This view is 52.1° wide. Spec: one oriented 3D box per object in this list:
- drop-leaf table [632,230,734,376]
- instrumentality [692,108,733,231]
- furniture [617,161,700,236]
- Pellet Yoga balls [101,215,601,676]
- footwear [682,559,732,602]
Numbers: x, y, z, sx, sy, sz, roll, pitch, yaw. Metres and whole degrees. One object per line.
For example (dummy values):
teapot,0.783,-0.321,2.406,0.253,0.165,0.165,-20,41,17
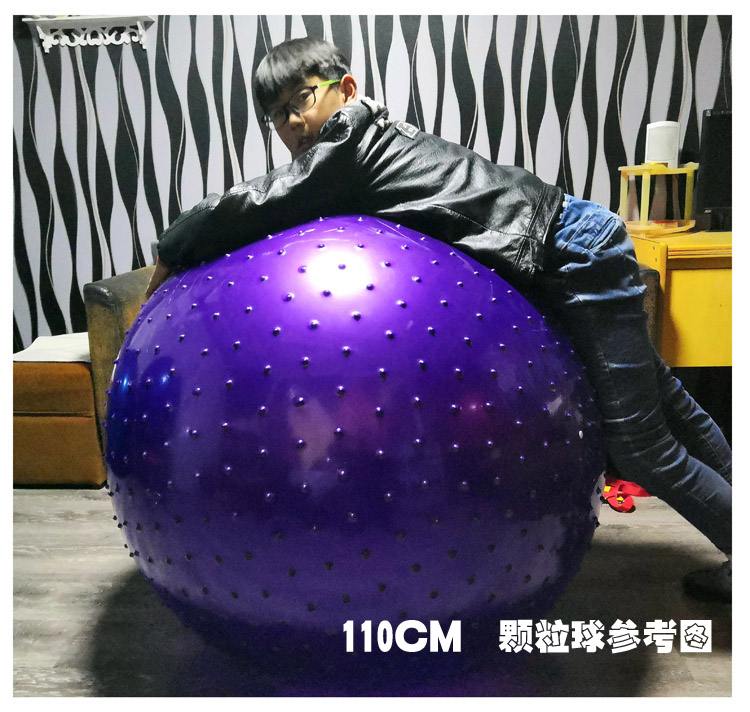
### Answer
drop-leaf table,0.875,-0.145,2.312,0.342,0.408,0.292,-2,4,1
instrumentality,1.047,-0.608,2.365,0.103,0.309,0.028,-3,13,0
furniture,0.924,-0.502,2.443,0.218,0.250,0.209,-10,14,-41
Pellet Yoga balls,-0.039,0.160,1.402,0.535,0.646,0.642,1,3,1
footwear,0.685,0.452,1.574,0.061,0.061,0.080,2,-2,-20
